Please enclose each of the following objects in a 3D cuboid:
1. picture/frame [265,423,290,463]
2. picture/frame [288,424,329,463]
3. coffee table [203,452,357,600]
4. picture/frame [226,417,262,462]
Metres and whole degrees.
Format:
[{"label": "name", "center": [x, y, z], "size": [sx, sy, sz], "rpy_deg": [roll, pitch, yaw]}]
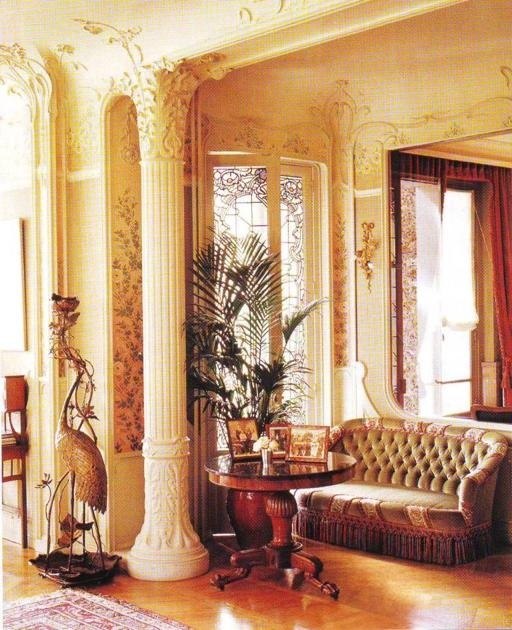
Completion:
[{"label": "picture/frame", "center": [0.144, 0.820, 4.598], "size": [0.185, 0.238, 0.018], "rpy_deg": [8, -21, -24]}, {"label": "picture/frame", "center": [0.334, 0.809, 4.519], "size": [0.224, 0.192, 0.017], "rpy_deg": [-3, -29, 30]}, {"label": "coffee table", "center": [0.159, 1.263, 4.610], "size": [1.011, 0.748, 0.979], "rpy_deg": [1, 1, -2]}, {"label": "picture/frame", "center": [-0.075, 0.810, 4.700], "size": [0.275, 0.314, 0.034], "rpy_deg": [6, -26, -27]}]
